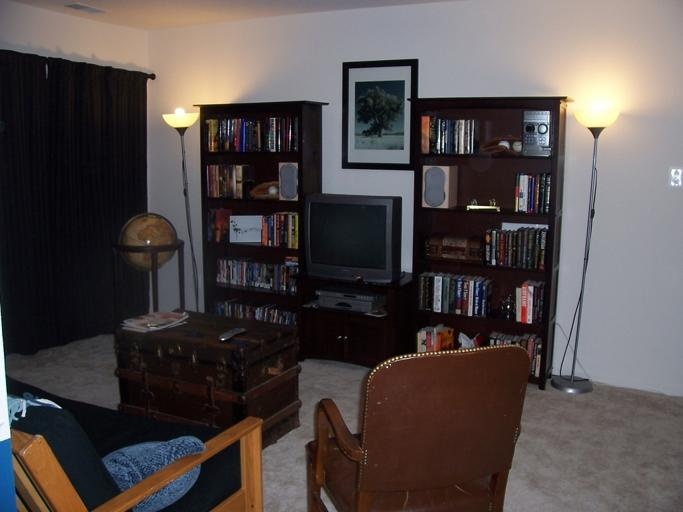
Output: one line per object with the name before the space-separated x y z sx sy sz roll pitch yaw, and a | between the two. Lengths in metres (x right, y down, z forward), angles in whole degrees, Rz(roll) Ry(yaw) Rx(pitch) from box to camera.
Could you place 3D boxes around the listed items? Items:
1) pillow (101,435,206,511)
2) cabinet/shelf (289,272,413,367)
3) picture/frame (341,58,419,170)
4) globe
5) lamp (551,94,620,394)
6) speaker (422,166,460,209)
pillow | -0.759 0.845 2.233 0.327 0.091 0.324 -11 29 -39
cabinet/shelf | -0.091 0.572 4.809 0.916 0.767 0.545 16 -9 -31
picture/frame | 0.348 -1.243 4.795 0.884 1.285 0.056 4 8 21
globe | -1.798 0.131 5.192 0.552 1.075 0.567 3 8 14
lamp | 1.803 -0.071 4.179 0.319 2.124 0.552 5 14 22
speaker | 0.754 -0.565 4.495 0.291 0.466 0.311 5 14 31
